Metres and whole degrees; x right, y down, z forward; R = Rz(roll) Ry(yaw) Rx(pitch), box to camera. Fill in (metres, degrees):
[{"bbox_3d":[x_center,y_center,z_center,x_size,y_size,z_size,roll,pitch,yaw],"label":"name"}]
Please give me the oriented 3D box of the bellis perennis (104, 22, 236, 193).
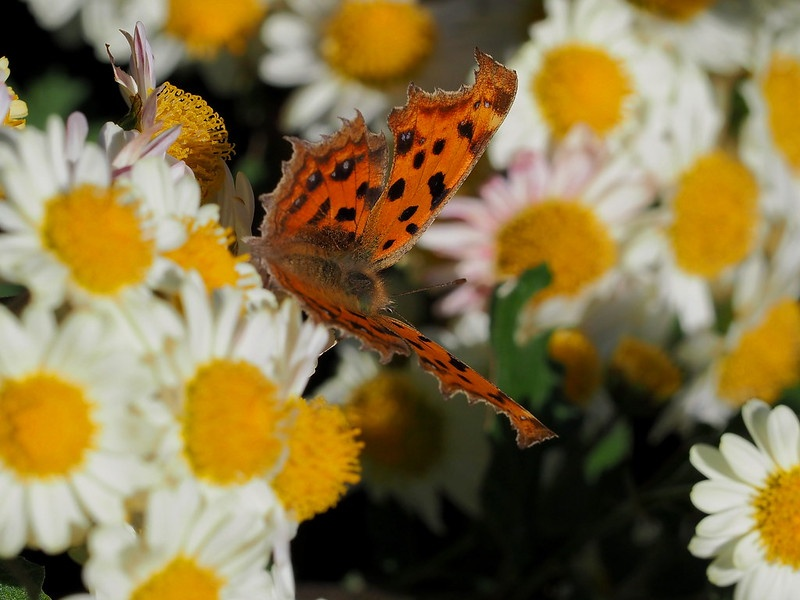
[{"bbox_3d":[-0.207,-0.148,0.786,0.087,0.124,0.051,11,72,-43],"label":"bellis perennis"}]
